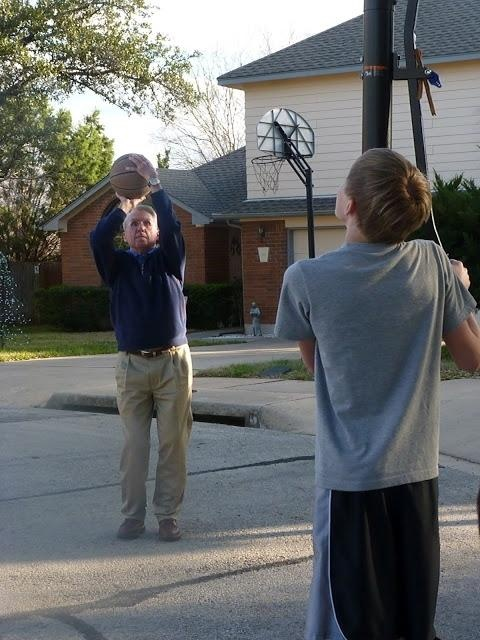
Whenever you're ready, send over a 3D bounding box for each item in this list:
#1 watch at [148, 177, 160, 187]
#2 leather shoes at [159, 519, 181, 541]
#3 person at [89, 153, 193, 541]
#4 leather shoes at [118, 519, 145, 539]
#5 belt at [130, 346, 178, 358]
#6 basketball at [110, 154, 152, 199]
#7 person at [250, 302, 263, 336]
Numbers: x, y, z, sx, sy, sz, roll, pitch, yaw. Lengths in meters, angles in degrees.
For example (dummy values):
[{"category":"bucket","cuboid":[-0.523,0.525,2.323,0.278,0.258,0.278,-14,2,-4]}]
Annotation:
[{"category":"watch","cuboid":[-0.473,-0.752,4.132,0.073,0.043,0.065,-8,11,-23]},{"category":"leather shoes","cuboid":[-0.380,1.106,4.039,0.117,0.102,0.154,-4,4,-7]},{"category":"person","cuboid":[-0.537,0.118,4.173,0.508,2.094,0.550,-3,4,-3]},{"category":"leather shoes","cuboid":[-0.585,1.123,4.067,0.064,0.073,0.175,-3,-9,18]},{"category":"belt","cuboid":[-0.471,0.171,4.125,0.247,0.051,0.060,-4,4,-10]},{"category":"basketball","cuboid":[-0.644,-0.799,4.387,0.284,0.327,0.287,2,5,-8]},{"category":"person","cuboid":[0.376,-0.032,18.421,0.272,0.797,0.895,-3,4,1]}]
